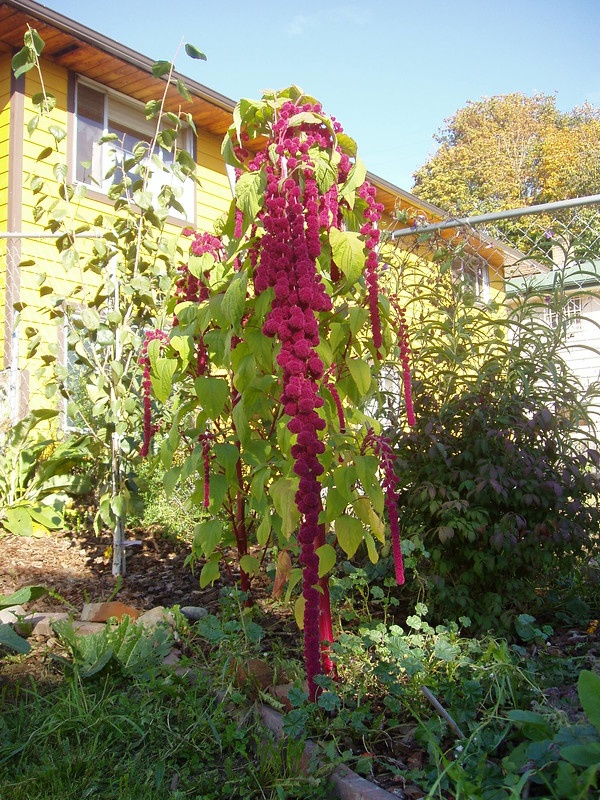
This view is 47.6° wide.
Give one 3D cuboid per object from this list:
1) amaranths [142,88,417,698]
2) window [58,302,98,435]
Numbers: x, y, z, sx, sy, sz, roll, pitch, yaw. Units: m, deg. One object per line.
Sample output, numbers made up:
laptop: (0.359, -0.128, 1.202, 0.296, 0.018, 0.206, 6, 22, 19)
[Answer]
amaranths: (-0.073, -0.073, 2.049, 0.784, 1.164, 1.390, 7, -3, -14)
window: (-1.488, -0.205, 4.509, 0.184, 0.560, 0.140, 6, -27, -1)
